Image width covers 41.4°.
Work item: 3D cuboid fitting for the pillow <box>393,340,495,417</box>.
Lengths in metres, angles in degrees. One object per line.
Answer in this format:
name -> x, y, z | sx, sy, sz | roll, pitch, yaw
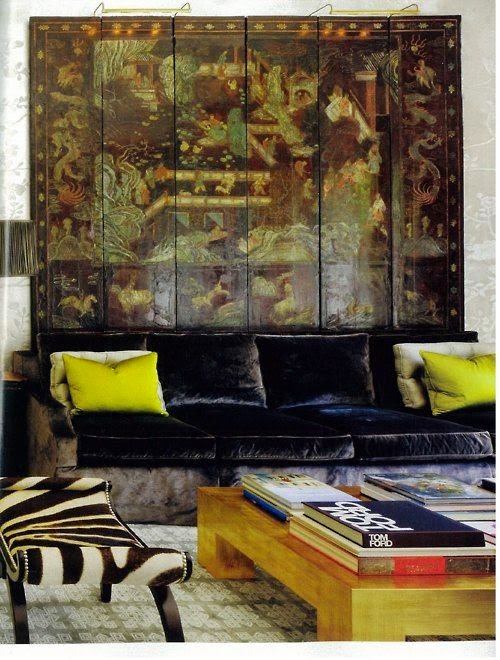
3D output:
pillow -> 0.941, 0.256, 3.425 | 0.418, 0.371, 0.121 | -4, -6, -20
